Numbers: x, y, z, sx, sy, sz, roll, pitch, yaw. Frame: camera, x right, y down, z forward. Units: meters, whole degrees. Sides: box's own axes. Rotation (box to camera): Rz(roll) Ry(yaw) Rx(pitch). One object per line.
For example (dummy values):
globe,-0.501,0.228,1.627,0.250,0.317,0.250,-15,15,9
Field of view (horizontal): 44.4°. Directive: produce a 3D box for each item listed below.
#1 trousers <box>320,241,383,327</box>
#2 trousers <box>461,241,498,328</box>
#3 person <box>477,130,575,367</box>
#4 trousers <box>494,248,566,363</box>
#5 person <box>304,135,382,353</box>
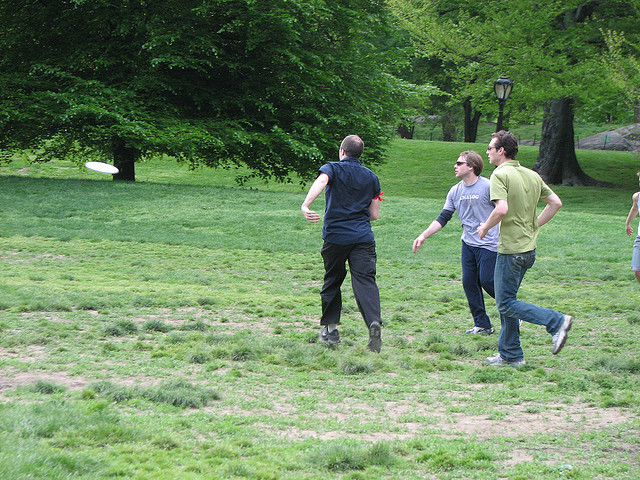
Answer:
trousers,0.437,0.583,10.390,0.875,1.129,0.391,4,8,16
trousers,2.276,0.638,11.116,0.304,1.215,0.647,-3,9,-33
person,2.645,0.069,10.146,1.167,2.984,1.567,4,8,9
trousers,2.556,0.841,9.798,0.414,1.426,0.873,-5,10,-43
person,0.324,0.036,10.326,1.027,2.811,0.675,2,8,-1
